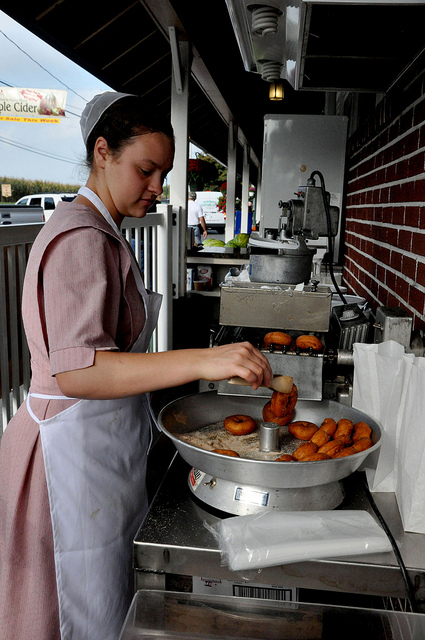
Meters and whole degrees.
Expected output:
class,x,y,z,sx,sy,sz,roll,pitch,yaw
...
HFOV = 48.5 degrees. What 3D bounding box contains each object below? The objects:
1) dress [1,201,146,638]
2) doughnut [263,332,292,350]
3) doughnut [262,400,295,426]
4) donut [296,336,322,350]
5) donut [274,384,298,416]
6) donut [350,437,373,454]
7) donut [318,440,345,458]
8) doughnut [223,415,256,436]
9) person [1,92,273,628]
class,x,y,z,sx,sy,sz,roll,pitch,yaw
dress,-0.280,0.213,0.929,0.302,0.773,0.401,3,10,2
doughnut,0.179,0.061,1.289,0.073,0.032,0.092,3,11,4
doughnut,0.155,0.220,1.103,0.079,0.028,0.079,0,3,5
donut,0.261,0.064,1.276,0.069,0.022,0.055,4,11,10
donut,0.170,0.182,1.099,0.021,0.079,0.059,-1,-5,40
donut,0.284,0.239,0.898,0.023,0.009,0.032,-8,9,44
donut,0.234,0.255,0.929,0.026,0.016,0.032,-23,-5,19
doughnut,0.066,0.253,1.132,0.062,0.033,0.079,10,13,35
person,-0.202,0.123,0.921,0.434,1.127,0.474,-4,13,-28
